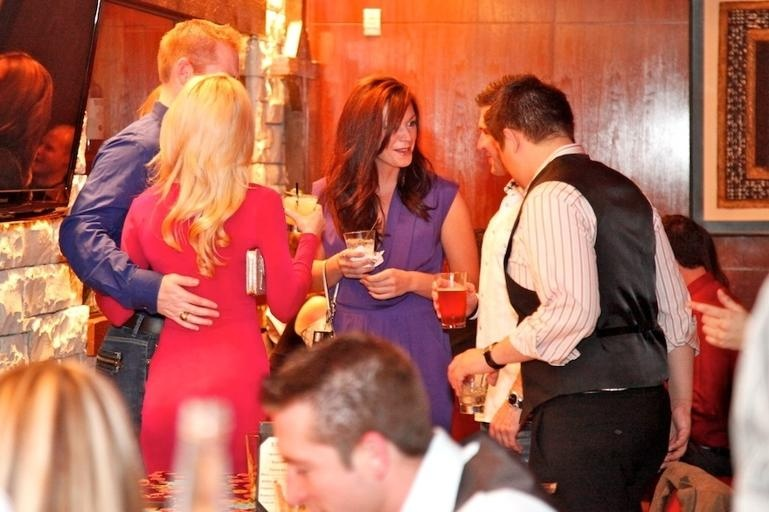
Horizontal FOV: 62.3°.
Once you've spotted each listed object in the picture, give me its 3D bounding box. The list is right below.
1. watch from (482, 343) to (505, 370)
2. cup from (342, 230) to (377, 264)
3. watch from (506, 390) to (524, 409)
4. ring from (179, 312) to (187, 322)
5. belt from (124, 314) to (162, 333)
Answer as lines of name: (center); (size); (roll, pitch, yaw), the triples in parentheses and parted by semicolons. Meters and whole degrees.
watch: (0.366, 0.344, 2.186); (0.055, 0.093, 0.093); (-22, 1, 20)
cup: (-0.094, -0.046, 2.561); (0.114, 0.126, 0.112); (0, -1, 0)
watch: (0.461, 0.509, 2.262); (0.057, 0.041, 0.059); (21, 15, -44)
ring: (-0.635, 0.187, 2.005); (0.020, 0.022, 0.021); (0, -10, 0)
belt: (-0.869, 0.243, 2.313); (0.085, 0.056, 0.085); (26, -8, 3)
